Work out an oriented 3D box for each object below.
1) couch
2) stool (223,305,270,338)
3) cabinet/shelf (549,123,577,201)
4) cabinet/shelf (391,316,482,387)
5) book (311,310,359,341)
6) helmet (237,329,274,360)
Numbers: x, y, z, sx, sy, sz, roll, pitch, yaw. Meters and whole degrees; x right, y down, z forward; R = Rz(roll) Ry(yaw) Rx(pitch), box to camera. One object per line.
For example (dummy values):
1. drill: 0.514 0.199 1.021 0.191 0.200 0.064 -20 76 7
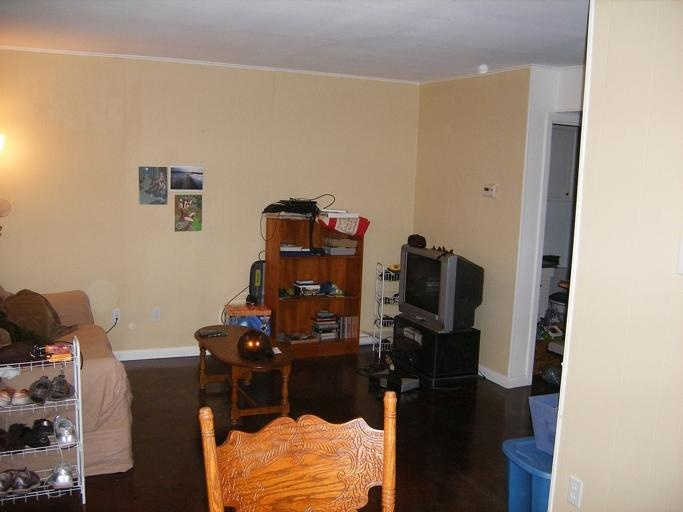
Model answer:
1. couch: -2.206 0.967 4.707 1.028 1.065 1.778 -2 1 -31
2. stool: -1.011 0.656 6.135 0.388 0.372 0.373 0 2 -22
3. cabinet/shelf: 2.843 -1.188 7.206 0.437 0.931 0.167 -3 6 -28
4. cabinet/shelf: 1.017 0.929 5.955 0.639 0.610 0.941 -4 8 -26
5. book: -0.061 0.801 6.468 0.531 0.330 0.182 0 5 -1
6. helmet: -0.713 0.741 4.741 0.199 0.161 0.281 12 15 30
